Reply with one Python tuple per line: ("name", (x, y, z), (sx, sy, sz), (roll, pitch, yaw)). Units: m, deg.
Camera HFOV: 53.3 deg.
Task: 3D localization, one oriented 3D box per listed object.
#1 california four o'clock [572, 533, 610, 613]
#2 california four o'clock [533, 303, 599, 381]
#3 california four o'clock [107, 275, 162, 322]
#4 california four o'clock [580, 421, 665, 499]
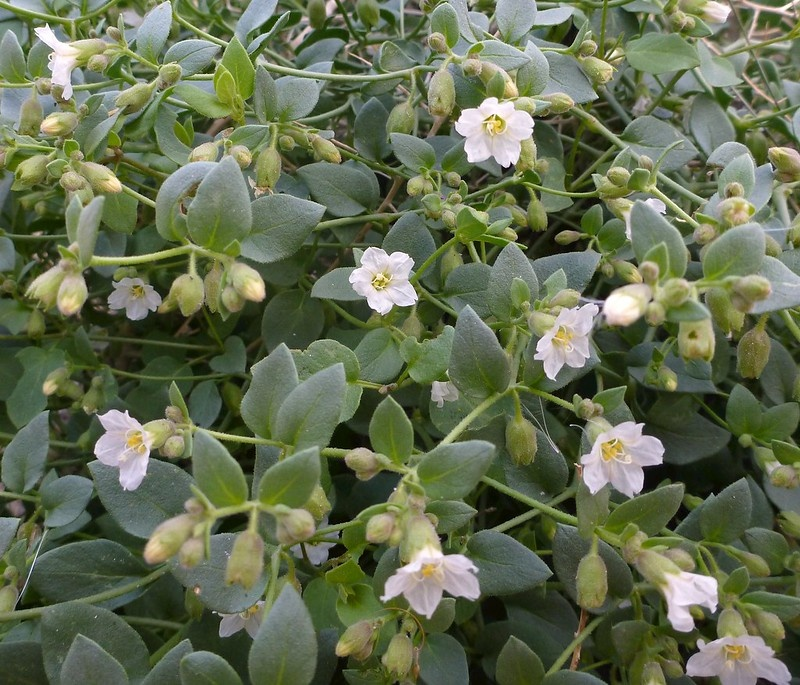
("california four o'clock", (0.356, 0.407, 1.455), (0.047, 0.049, 0.146), (32, 49, -16))
("california four o'clock", (0.301, -0.013, 1.438), (0.108, 0.134, 0.072), (-2, 46, -22))
("california four o'clock", (-0.644, -0.120, 1.930), (0.085, 0.048, 0.091), (-8, 24, -24))
("california four o'clock", (0.385, 0.206, 1.421), (0.126, 0.147, 0.071), (12, 15, -28))
